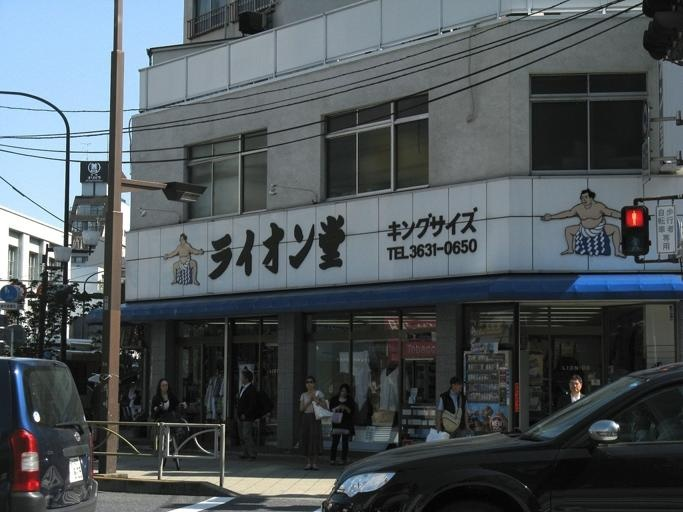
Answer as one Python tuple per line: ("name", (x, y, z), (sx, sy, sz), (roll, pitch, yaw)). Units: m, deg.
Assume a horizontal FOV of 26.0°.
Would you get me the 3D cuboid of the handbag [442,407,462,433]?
("handbag", (2.350, 3.441, 30.941), (0.319, 0.386, 0.441), (1, -28, 3))
